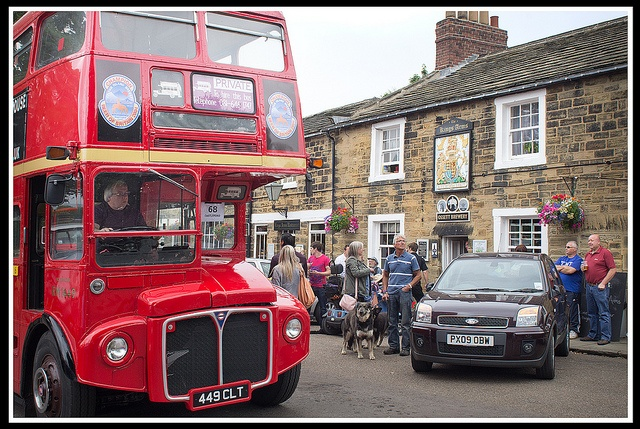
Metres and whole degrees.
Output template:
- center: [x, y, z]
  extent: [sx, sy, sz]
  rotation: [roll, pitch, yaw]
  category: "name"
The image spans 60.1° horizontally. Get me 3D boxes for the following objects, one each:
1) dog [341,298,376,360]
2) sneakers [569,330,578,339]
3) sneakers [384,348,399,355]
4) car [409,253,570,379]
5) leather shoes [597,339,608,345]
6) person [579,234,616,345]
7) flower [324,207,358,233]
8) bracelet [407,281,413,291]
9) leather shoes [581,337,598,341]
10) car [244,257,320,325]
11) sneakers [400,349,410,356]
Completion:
- center: [0.757, 2.352, 11.441]
  extent: [0.560, 1.120, 1.014]
  rotation: [1, -3, -19]
  category: "dog"
- center: [6.045, 2.870, 13.217]
  extent: [0.175, 0.191, 0.471]
  rotation: [-4, -13, 24]
  category: "sneakers"
- center: [1.489, 2.894, 11.642]
  extent: [0.113, 0.125, 0.339]
  rotation: [-8, -15, 41]
  category: "sneakers"
- center: [2.914, 1.791, 9.953]
  extent: [2.622, 2.142, 1.763]
  rotation: [0, -3, -4]
  category: "car"
- center: [6.340, 2.873, 12.443]
  extent: [0.313, 0.115, 0.102]
  rotation: [10, -11, -41]
  category: "leather shoes"
- center: [6.334, 1.703, 12.699]
  extent: [0.562, 2.465, 0.780]
  rotation: [0, -3, -10]
  category: "person"
- center: [0.786, 0.203, 20.668]
  extent: [1.005, 0.810, 0.974]
  rotation: [1, -1, -26]
  category: "flower"
- center: [1.840, 1.487, 11.346]
  extent: [0.048, 0.125, 0.099]
  rotation: [4, 8, -41]
  category: "bracelet"
- center: [6.280, 2.921, 12.941]
  extent: [0.336, 0.133, 0.112]
  rotation: [-2, -1, 15]
  category: "leather shoes"
- center: [-0.821, 1.861, 14.954]
  extent: [2.513, 1.242, 1.328]
  rotation: [-1, 0, -14]
  category: "car"
- center: [1.745, 2.860, 11.449]
  extent: [0.191, 0.117, 0.124]
  rotation: [-1, -3, 9]
  category: "sneakers"
